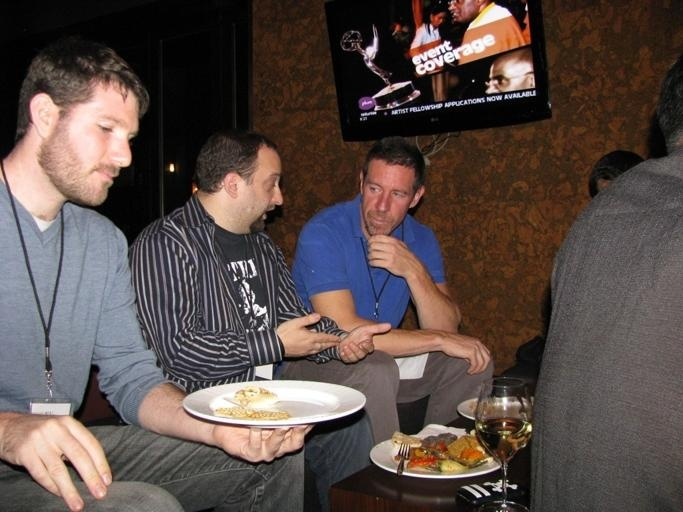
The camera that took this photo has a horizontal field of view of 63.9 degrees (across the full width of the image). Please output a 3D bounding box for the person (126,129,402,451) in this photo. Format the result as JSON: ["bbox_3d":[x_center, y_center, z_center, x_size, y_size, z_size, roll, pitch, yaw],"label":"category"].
[{"bbox_3d":[-0.415,0.093,2.438,0.946,1.208,0.884,7,4,33],"label":"person"}]
